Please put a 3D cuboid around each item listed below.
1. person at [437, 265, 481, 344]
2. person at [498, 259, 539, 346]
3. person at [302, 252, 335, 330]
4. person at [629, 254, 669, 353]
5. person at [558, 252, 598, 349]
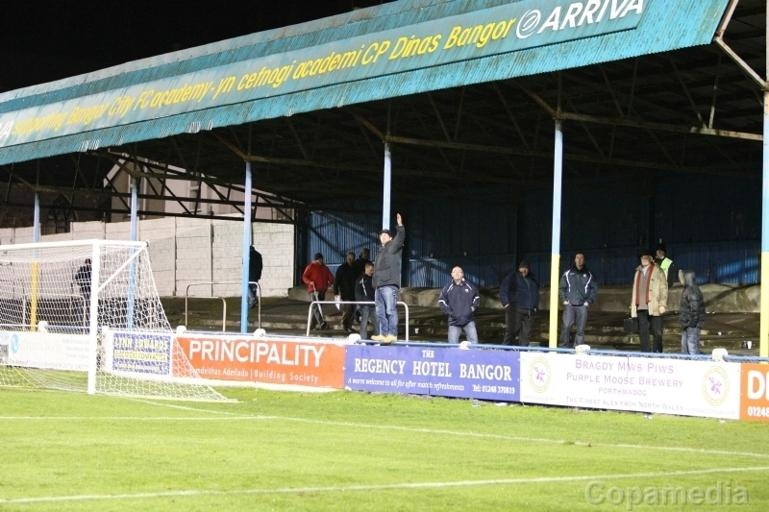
[{"bbox_3d":[1.980,1.240,39.839,0.903,2.017,0.997,3,-3,-23],"label":"person"},{"bbox_3d":[3.483,1.186,40.656,0.962,2.184,0.844,0,-3,-1],"label":"person"},{"bbox_3d":[-1.988,0.848,45.462,0.936,2.523,0.972,4,-2,17],"label":"person"},{"bbox_3d":[6.724,1.197,39.432,1.014,2.589,0.718,-1,-4,41],"label":"person"},{"bbox_3d":[4.974,1.123,40.324,0.892,2.454,0.978,0,0,-3],"label":"person"}]
